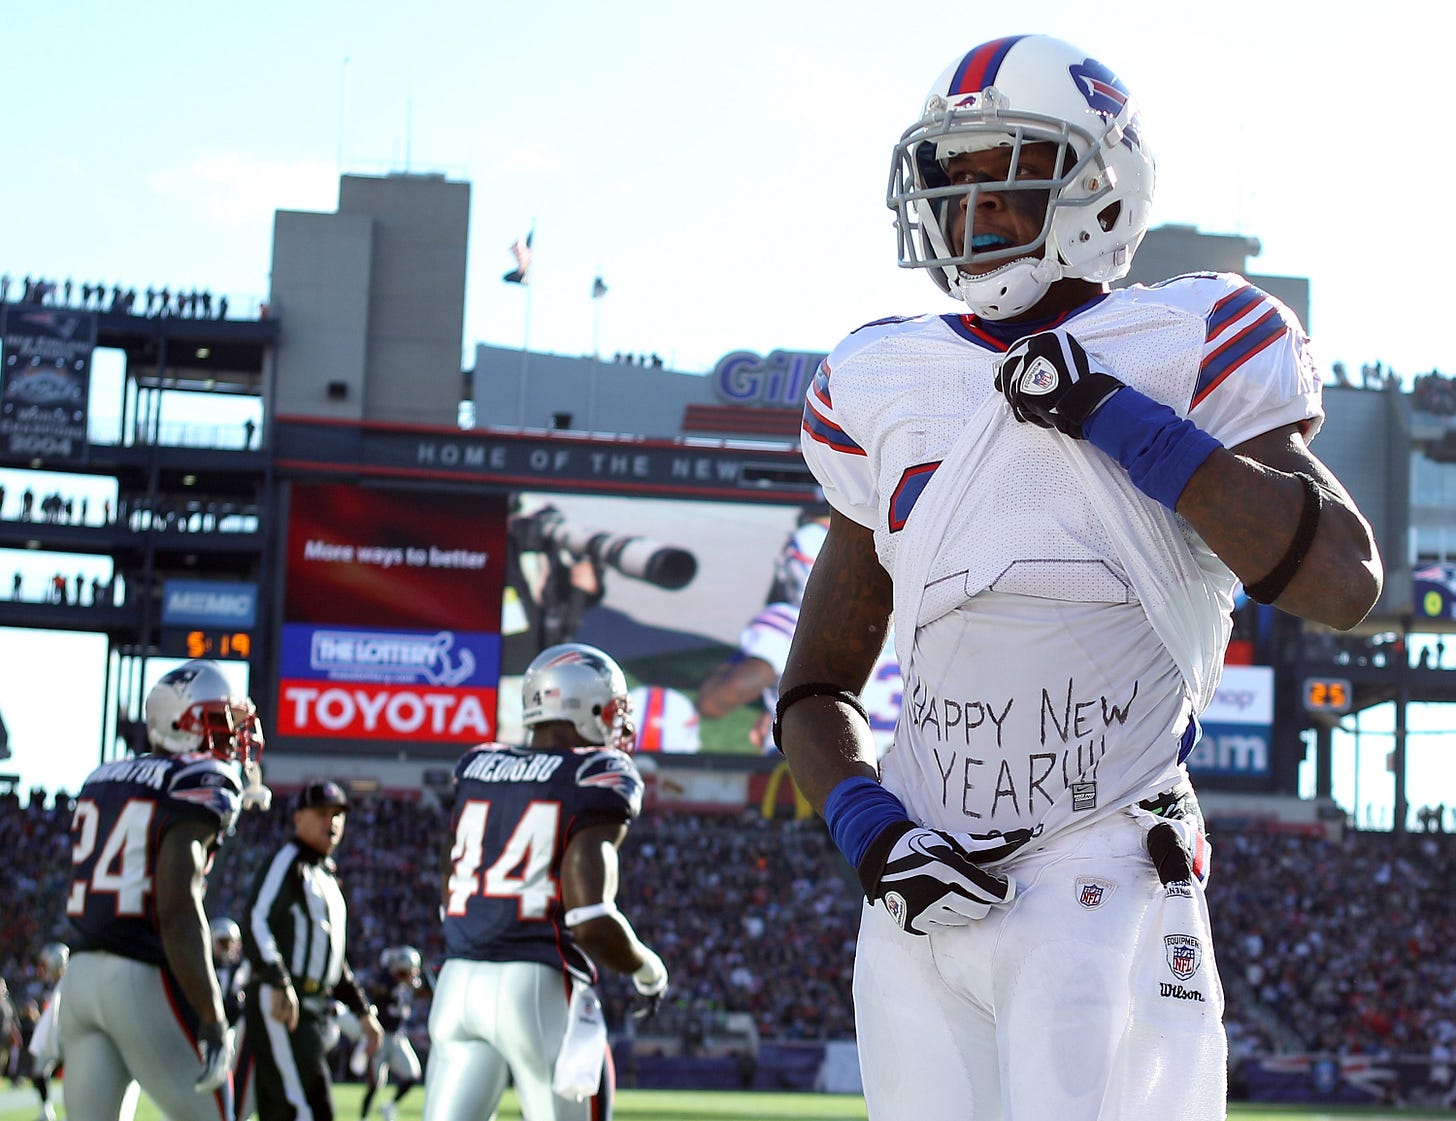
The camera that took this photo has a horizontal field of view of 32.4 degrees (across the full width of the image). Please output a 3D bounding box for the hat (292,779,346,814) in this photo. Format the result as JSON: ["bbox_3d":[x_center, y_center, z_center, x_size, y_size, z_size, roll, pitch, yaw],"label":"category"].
[{"bbox_3d":[-2.304,1.343,14.275,0.234,0.154,0.180,-3,-1,-20],"label":"hat"}]

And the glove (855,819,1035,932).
[{"bbox_3d":[0.752,1.107,9.101,0.590,0.323,0.555,5,32,-3],"label":"glove"}]

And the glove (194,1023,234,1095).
[{"bbox_3d":[-2.461,2.399,12.128,0.191,0.334,0.115,0,-12,29],"label":"glove"}]

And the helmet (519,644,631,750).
[{"bbox_3d":[-0.709,0.643,12.029,0.568,0.523,0.419,4,-4,-36],"label":"helmet"}]

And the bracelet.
[{"bbox_3d":[1.516,-0.395,8.863,0.460,0.314,0.156,40,-6,8],"label":"bracelet"}]

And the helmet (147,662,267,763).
[{"bbox_3d":[-2.616,0.744,12.475,0.553,0.505,0.504,3,-5,-15],"label":"helmet"}]
